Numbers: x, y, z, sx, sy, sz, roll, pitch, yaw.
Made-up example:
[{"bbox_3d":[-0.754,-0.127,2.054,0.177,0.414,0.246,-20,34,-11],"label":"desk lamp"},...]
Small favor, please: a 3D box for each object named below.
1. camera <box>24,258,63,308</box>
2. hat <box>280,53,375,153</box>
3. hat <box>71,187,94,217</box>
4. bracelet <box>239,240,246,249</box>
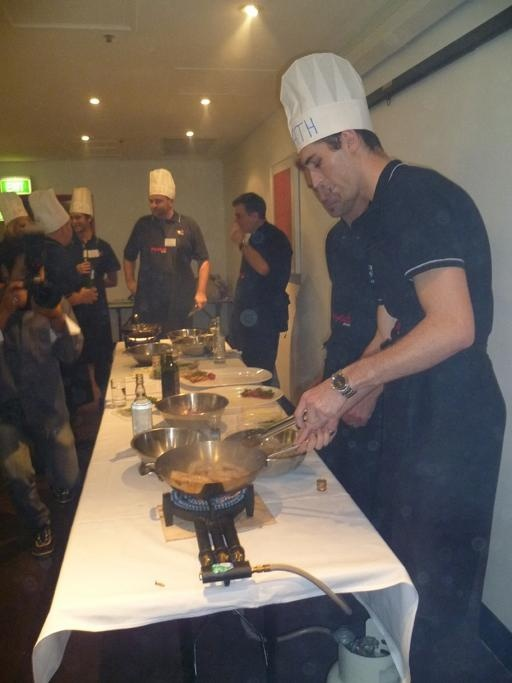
[{"bbox_3d":[-0.738,-0.190,1.871,0.106,0.169,0.157,-5,8,-15],"label":"camera"},{"bbox_3d":[0.190,-0.630,1.437,0.199,0.196,0.232,-7,12,12],"label":"hat"},{"bbox_3d":[-1.198,-0.964,3.739,0.157,0.213,0.209,-1,18,-11],"label":"hat"},{"bbox_3d":[-0.083,-0.578,3.251,0.033,0.048,0.031,-4,8,-7],"label":"bracelet"}]
